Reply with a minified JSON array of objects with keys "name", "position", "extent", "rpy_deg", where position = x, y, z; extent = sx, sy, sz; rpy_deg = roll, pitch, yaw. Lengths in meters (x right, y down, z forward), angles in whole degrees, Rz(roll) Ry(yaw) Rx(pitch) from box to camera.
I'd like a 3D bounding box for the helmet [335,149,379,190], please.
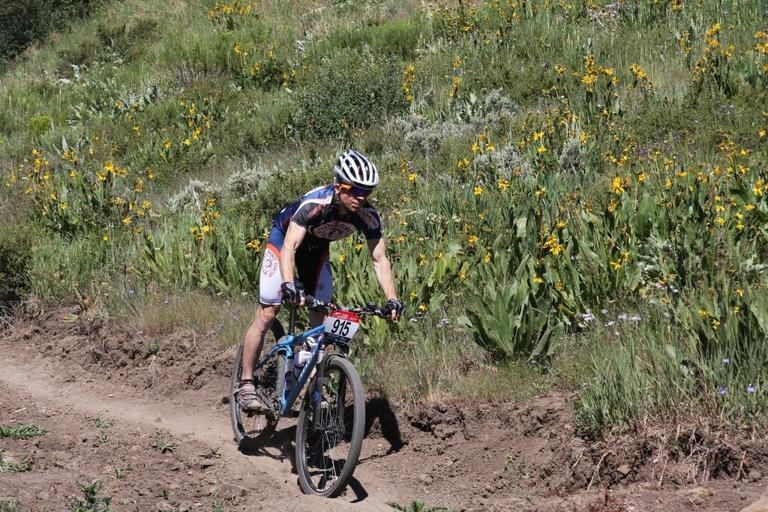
[{"name":"helmet","position":[-0.350,-1.033,9.747],"extent":[0.421,0.378,0.646],"rpy_deg":[-3,24,-32]}]
